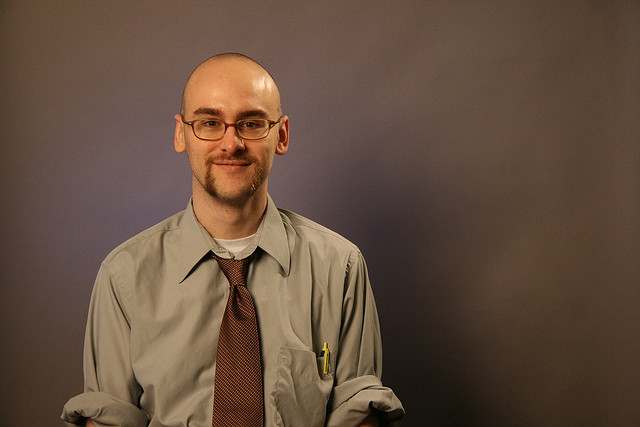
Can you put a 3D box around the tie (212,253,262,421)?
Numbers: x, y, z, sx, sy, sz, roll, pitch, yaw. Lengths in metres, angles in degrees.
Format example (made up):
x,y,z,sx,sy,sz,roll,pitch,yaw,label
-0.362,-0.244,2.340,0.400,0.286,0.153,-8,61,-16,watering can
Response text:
x,y,z,sx,sy,sz,roll,pitch,yaw,label
-0.345,0.505,2.739,0.198,0.689,0.070,0,-9,-9,tie
